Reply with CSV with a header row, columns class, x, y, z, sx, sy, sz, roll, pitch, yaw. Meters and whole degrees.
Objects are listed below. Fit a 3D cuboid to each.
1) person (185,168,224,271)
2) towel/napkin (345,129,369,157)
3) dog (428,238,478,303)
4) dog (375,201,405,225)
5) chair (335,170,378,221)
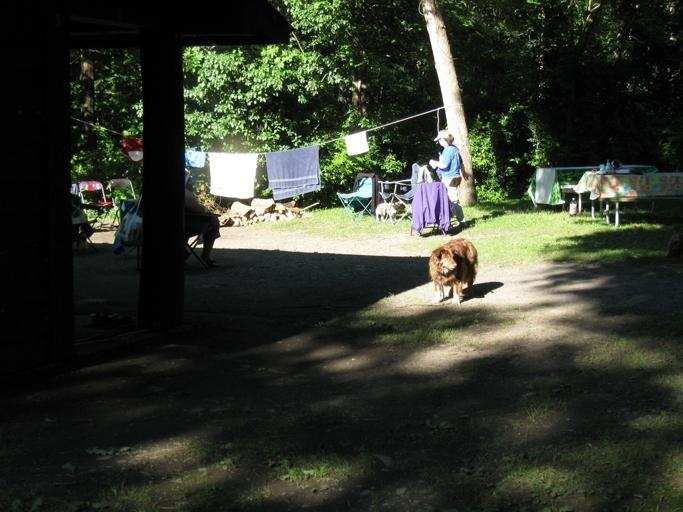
class,x,y,z,sx,sy,sz,roll,pitch,yaw
person,-2.221,-0.407,10.626,0.610,1.203,0.514,-9,11,-35
towel/napkin,0.417,-3.097,18.748,0.537,0.620,0.743,-2,9,5
dog,1.232,0.133,8.184,0.412,0.735,1.411,-5,6,6
dog,1.227,-1.119,17.352,0.733,0.490,1.404,-1,9,10
chair,0.250,-1.695,19.064,0.977,1.489,1.296,4,6,45
